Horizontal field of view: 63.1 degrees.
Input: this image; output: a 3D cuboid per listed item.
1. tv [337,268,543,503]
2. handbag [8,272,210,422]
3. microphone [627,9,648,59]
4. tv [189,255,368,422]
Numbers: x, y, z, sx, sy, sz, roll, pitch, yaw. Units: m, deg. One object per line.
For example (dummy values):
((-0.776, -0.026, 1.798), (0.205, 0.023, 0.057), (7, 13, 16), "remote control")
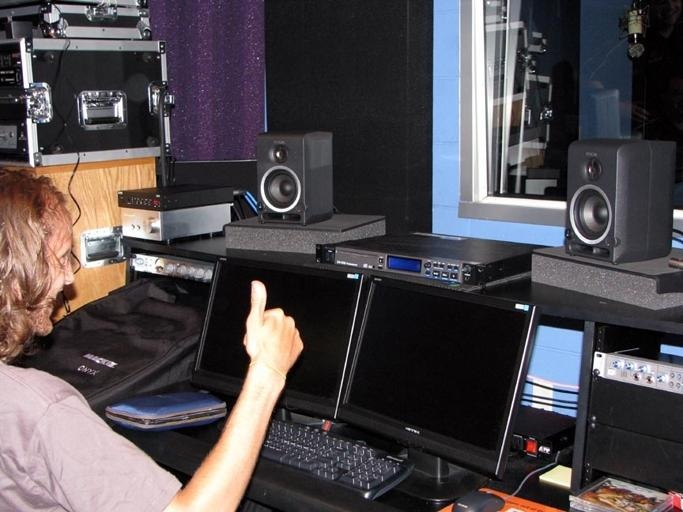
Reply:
((0.271, 0.377, 1.571), (0.207, 0.521, 0.518), (-6, 10, -43), "tv")
((-0.801, 0.311, 2.223), (0.409, 0.229, 0.574), (16, 32, 29), "handbag")
((1.339, -1.026, 2.566), (0.082, 0.217, 0.086), (5, 12, 30), "microphone")
((-0.207, 0.248, 1.906), (0.546, 0.516, 0.148), (11, 5, 33), "tv")
